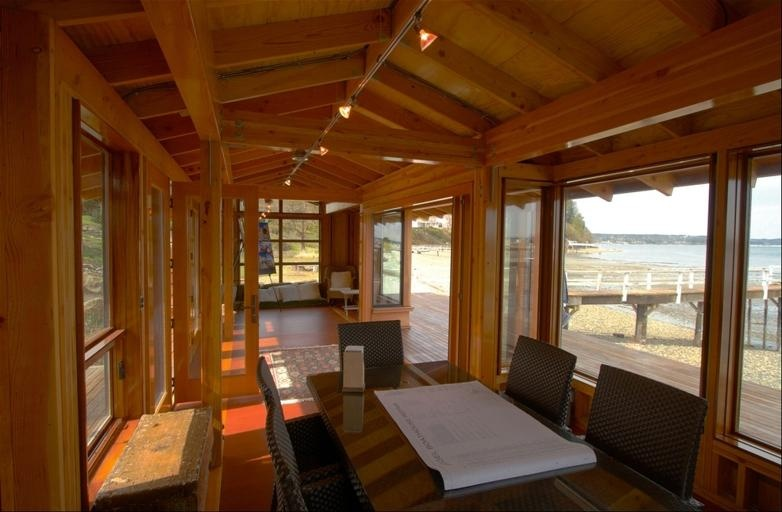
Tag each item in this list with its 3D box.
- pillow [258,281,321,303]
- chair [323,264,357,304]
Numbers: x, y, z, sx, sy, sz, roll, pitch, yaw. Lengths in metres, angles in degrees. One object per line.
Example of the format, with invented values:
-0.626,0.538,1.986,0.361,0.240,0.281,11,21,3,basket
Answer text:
-2.097,0.777,10.594,1.264,0.397,0.595,0,0,-16,pillow
-1.056,0.623,10.891,0.701,0.760,0.609,0,1,-11,chair
